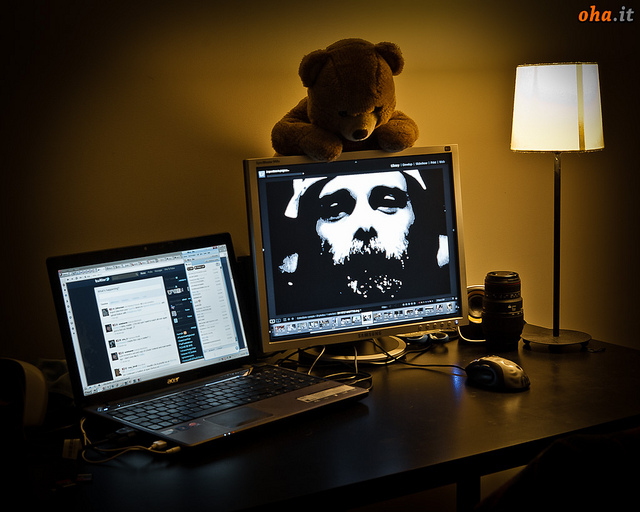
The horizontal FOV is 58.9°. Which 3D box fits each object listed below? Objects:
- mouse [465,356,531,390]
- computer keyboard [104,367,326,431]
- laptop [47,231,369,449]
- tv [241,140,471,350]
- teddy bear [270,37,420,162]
[{"bbox_3d":[0.377,0.244,1.183,0.102,0.035,0.065,15,9,37],"label":"mouse"},{"bbox_3d":[-0.201,0.278,1.140,0.409,0.013,0.141,-10,17,-33],"label":"computer keyboard"},{"bbox_3d":[-0.273,0.156,1.158,0.467,0.432,0.294,-13,1,-44],"label":"laptop"},{"bbox_3d":[0.079,-0.030,1.365,0.499,0.397,0.047,-7,-1,-16],"label":"tv"},{"bbox_3d":[0.050,-0.333,1.461,0.396,0.421,0.281,-7,42,-15],"label":"teddy bear"}]
